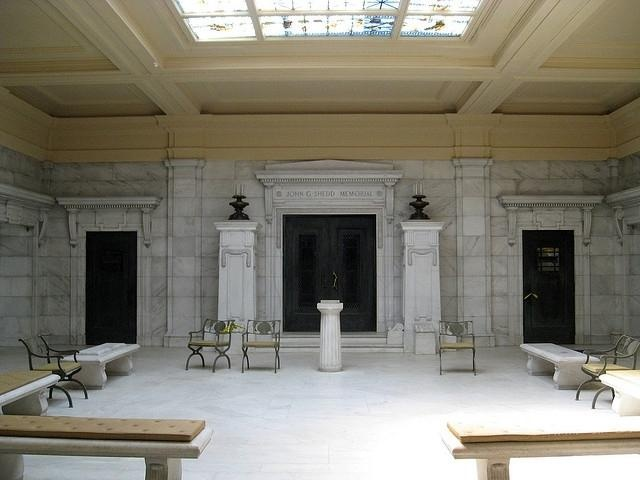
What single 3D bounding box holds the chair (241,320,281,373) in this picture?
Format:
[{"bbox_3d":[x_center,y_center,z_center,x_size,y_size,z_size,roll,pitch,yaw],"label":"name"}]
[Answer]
[{"bbox_3d":[-1.269,2.224,11.512,1.286,1.130,0.971,0,-11,2],"label":"chair"}]
